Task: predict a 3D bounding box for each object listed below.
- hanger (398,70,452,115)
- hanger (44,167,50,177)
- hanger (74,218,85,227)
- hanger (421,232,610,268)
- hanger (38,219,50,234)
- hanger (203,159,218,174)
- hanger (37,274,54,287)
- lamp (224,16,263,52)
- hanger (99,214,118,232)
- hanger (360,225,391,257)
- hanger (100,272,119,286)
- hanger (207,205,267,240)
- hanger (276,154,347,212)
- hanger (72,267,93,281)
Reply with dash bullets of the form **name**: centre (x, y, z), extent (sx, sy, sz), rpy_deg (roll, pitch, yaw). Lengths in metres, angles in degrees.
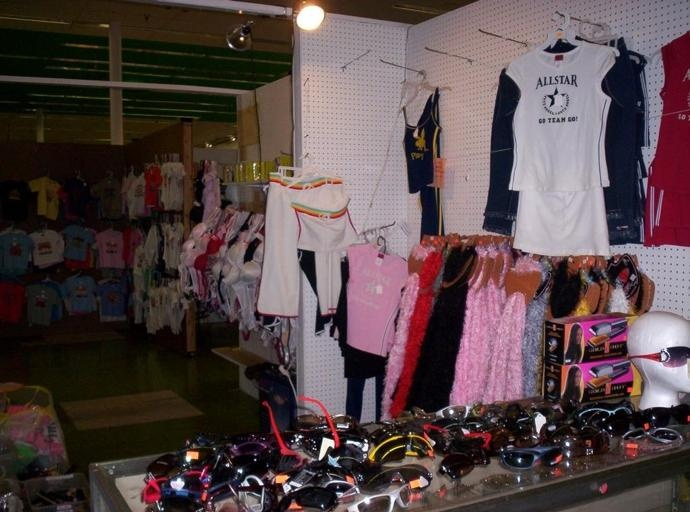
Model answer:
- **hanger**: centre (0.548, -1.180, 4.229), extent (0.138, 0.293, 0.466), rpy_deg (-4, 11, -29)
- **hanger**: centre (-4.597, -1.316, 9.290), extent (0.084, 0.138, 0.126), rpy_deg (-1, 3, -13)
- **hanger**: centre (-4.196, -0.538, 9.431), extent (0.136, 0.143, 0.035), rpy_deg (25, 4, 0)
- **hanger**: centre (0.944, -0.052, 3.529), extent (0.106, 0.135, 1.208), rpy_deg (-8, 13, -44)
- **hanger**: centre (-4.652, -0.477, 9.213), extent (0.154, 0.190, 0.224), rpy_deg (1, -9, -13)
- **hanger**: centre (-1.619, -1.071, 7.122), extent (0.141, 0.163, 0.053), rpy_deg (1, 0, -25)
- **hanger**: centre (-4.579, 0.357, 9.161), extent (0.208, 0.154, 0.276), rpy_deg (-3, 43, -31)
- **lamp**: centre (-0.727, -1.539, 4.154), extent (0.150, 0.232, 0.525), rpy_deg (-1, 10, -6)
- **hanger**: centre (-3.785, -0.534, 9.523), extent (0.240, 0.287, 0.022), rpy_deg (-2, 17, -15)
- **hanger**: centre (0.218, -0.131, 4.235), extent (0.224, 0.168, 0.409), rpy_deg (1, 10, 4)
- **hanger**: centre (-3.763, 0.363, 9.549), extent (0.191, 0.237, 0.016), rpy_deg (-2, 2, -29)
- **hanger**: centre (-0.959, -0.265, 5.165), extent (0.257, 0.275, 1.046), rpy_deg (-4, 11, -23)
- **hanger**: centre (-0.213, -0.478, 3.946), extent (0.378, 0.461, 0.063), rpy_deg (0, -19, -25)
- **hanger**: centre (-4.146, 0.271, 9.435), extent (0.292, 0.155, 0.323), rpy_deg (-3, 10, -21)
